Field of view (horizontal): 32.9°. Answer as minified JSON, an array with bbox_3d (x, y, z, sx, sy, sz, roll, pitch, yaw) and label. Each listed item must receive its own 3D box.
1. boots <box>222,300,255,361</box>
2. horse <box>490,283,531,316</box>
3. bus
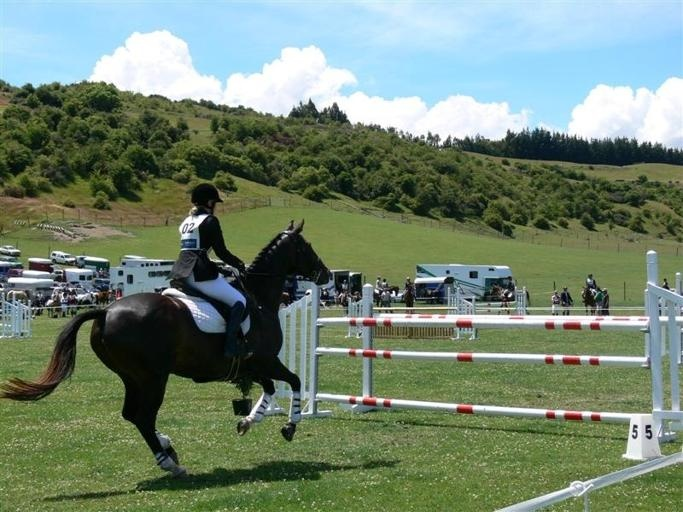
[{"bbox_3d":[-2.286,1.647,25.587,0.551,1.141,0.586,-2,5,-19],"label":"boots"},{"bbox_3d":[8.373,2.172,57.343,1.474,1.640,2.966,1,4,26],"label":"horse"},{"bbox_3d":[-0.220,2.031,66.199,7.494,2.091,3.590,2,6,34],"label":"bus"}]
